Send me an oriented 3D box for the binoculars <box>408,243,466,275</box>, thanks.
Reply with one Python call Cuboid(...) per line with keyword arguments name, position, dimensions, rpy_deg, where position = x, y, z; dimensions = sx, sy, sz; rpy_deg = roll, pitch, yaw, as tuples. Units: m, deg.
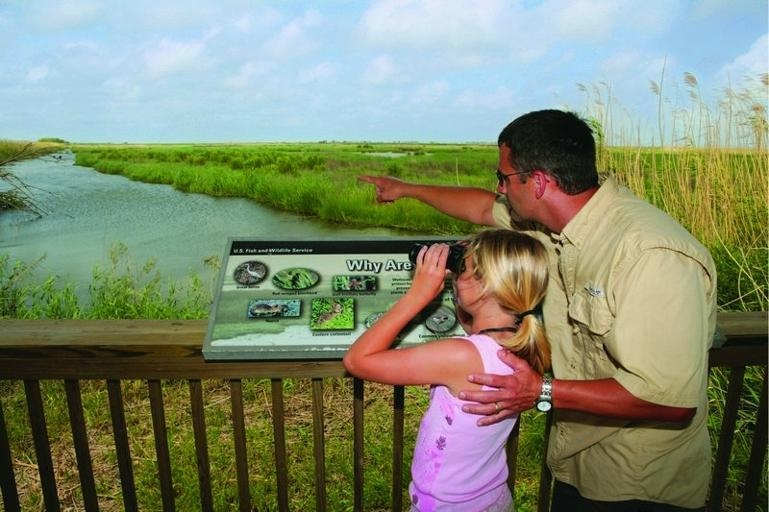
Cuboid(name="binoculars", position=(0.260, 0.000, 2.316), dimensions=(0.250, 0.135, 0.101), rpy_deg=(6, -4, 9))
